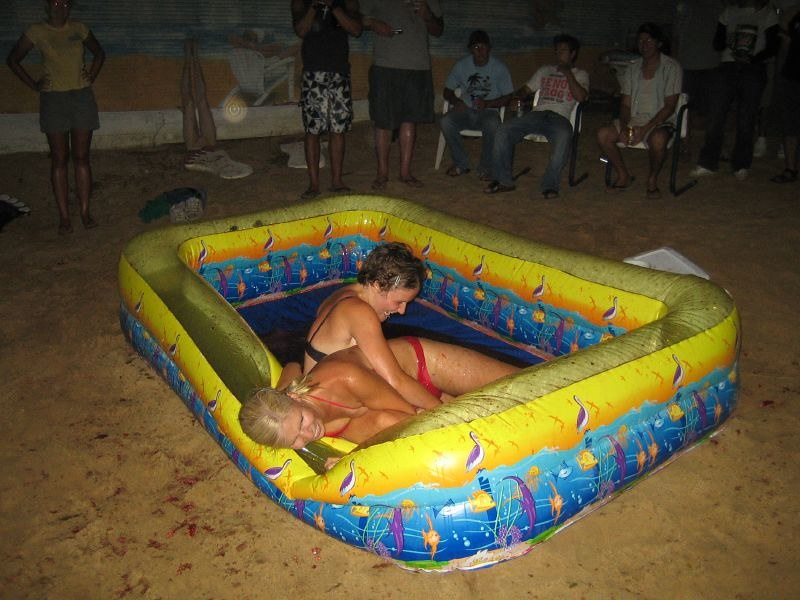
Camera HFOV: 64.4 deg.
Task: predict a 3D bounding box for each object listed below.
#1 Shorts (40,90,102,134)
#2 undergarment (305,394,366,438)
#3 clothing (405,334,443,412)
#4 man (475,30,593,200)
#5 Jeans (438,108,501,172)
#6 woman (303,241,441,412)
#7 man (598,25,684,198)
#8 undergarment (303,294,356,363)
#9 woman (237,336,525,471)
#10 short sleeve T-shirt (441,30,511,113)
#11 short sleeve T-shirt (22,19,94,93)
[{"bbox_3d":[-2.942,-1.696,5.580,0.525,0.401,0.289,-15,41,-39],"label":"Shorts"},{"bbox_3d":[-0.321,0.608,3.276,0.247,0.063,0.231,17,61,-1],"label":"undergarment"},{"bbox_3d":[0.144,0.386,3.654,0.113,0.322,0.240,-31,10,35],"label":"clothing"},{"bbox_3d":[1.566,-1.993,6.889,0.899,1.606,0.971,11,27,21],"label":"man"},{"bbox_3d":[0.910,-1.907,7.440,0.737,0.965,0.698,6,44,14],"label":"Jeans"},{"bbox_3d":[-0.069,0.164,3.494,0.855,0.842,0.594,4,22,-7],"label":"woman"},{"bbox_3d":[2.528,-1.937,6.543,0.690,1.644,0.580,13,28,25],"label":"man"},{"bbox_3d":[-0.414,0.162,3.461,0.085,0.309,0.306,42,83,8],"label":"undergarment"},{"bbox_3d":[-0.115,0.501,3.362,1.440,0.492,0.480,-17,30,-37],"label":"woman"},{"bbox_3d":[0.906,-2.538,7.148,0.845,0.843,0.559,6,37,16],"label":"short sleeve T-shirt"},{"bbox_3d":[-2.976,-2.146,5.528,0.307,0.535,0.587,39,40,25],"label":"short sleeve T-shirt"}]
